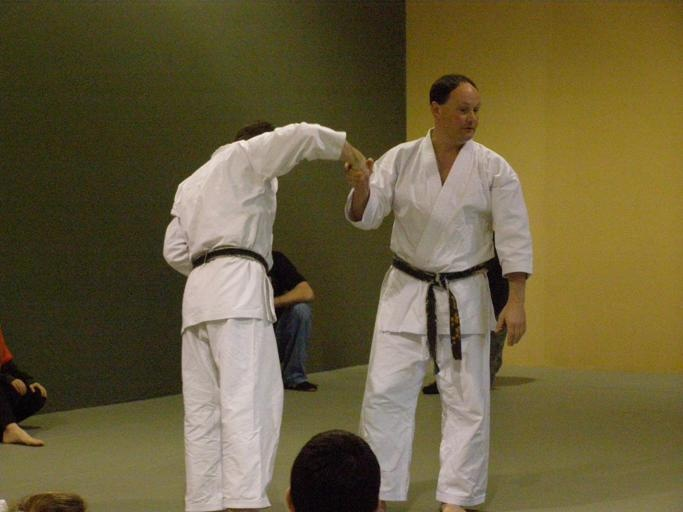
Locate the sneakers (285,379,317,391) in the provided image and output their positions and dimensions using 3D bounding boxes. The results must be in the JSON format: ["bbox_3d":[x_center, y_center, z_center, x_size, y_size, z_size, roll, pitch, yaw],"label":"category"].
[{"bbox_3d":[-0.288,0.920,4.534,0.224,0.106,0.088,-5,-6,20],"label":"sneakers"}]

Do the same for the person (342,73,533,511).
[{"bbox_3d":[0.447,0.146,2.849,0.803,1.935,0.292,-4,-1,0],"label":"person"}]
